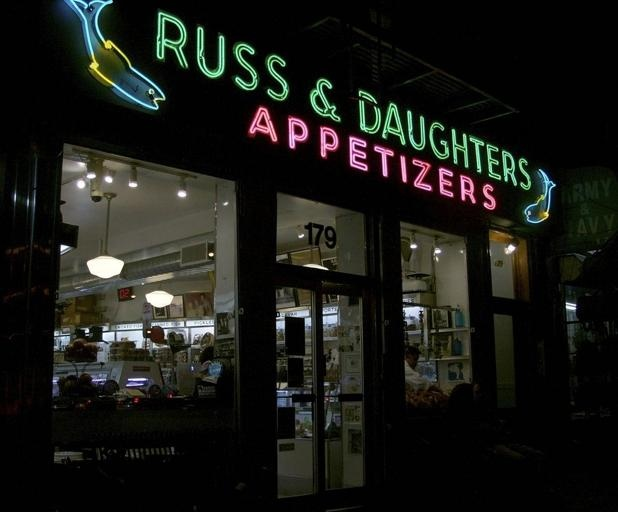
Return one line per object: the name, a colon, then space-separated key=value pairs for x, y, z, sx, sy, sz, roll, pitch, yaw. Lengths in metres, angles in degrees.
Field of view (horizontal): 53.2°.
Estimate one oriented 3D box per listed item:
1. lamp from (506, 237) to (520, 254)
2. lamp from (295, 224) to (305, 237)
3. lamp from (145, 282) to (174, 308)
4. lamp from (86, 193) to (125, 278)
lamp: x=2.836 y=-0.156 z=8.626 sx=0.109 sy=0.216 sz=0.108 roll=28 pitch=2 yaw=-8
lamp: x=-0.082 y=-0.247 z=6.091 sx=0.092 sy=0.158 sz=0.095 roll=6 pitch=13 yaw=27
lamp: x=-2.183 y=0.567 z=9.121 sx=0.366 sy=0.350 sz=0.589 roll=1 pitch=-12 yaw=-11
lamp: x=-2.562 y=-0.282 z=7.822 sx=0.434 sy=0.987 sz=0.474 roll=3 pitch=0 yaw=7
